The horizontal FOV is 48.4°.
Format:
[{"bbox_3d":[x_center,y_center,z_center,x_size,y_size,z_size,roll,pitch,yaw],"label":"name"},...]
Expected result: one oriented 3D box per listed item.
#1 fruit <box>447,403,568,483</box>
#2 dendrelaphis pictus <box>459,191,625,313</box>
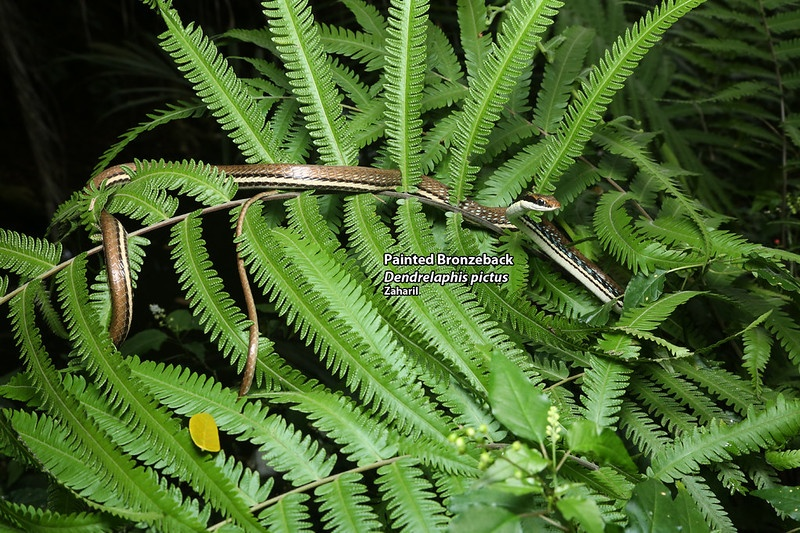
[{"bbox_3d":[0.463,0.813,3.866,0.435,0.206,0.391,9,54,1],"label":"fruit"},{"bbox_3d":[0.759,-0.036,4.624,0.796,0.293,0.514,19,3,-18],"label":"dendrelaphis pictus"}]
